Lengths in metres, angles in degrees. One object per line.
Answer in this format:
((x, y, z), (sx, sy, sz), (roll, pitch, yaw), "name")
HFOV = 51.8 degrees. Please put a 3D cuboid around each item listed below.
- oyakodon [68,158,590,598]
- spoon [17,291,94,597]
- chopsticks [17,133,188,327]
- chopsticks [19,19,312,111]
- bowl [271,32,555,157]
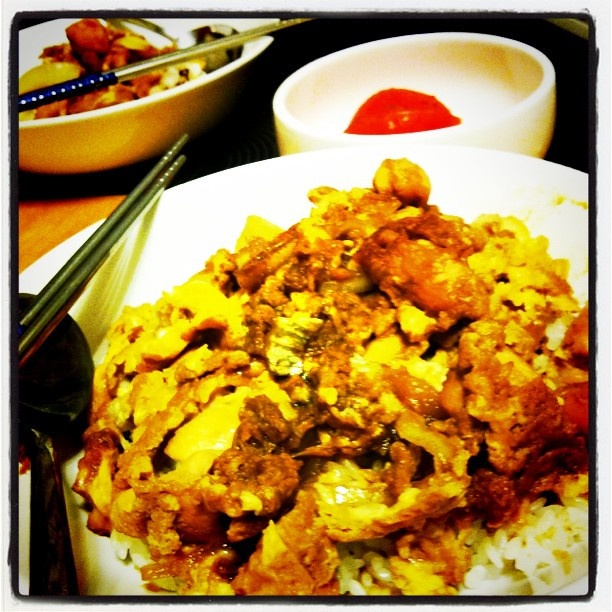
((0.072, 0.109, 1.003), (0.819, 0.481, 0.637), (7, 47, 8), "oyakodon")
((-0.399, 0.233, 1.049), (0.144, 0.072, 0.435), (-7, 80, 8), "spoon")
((-0.344, -0.131, 1.093), (0.035, 0.029, 0.562), (-11, 30, 35), "chopsticks")
((-0.229, -0.421, 1.068), (0.520, 0.020, 0.019), (-24, 55, -16), "chopsticks")
((0.171, -0.348, 1.036), (0.326, 0.112, 0.274), (-25, 43, -18), "bowl")
